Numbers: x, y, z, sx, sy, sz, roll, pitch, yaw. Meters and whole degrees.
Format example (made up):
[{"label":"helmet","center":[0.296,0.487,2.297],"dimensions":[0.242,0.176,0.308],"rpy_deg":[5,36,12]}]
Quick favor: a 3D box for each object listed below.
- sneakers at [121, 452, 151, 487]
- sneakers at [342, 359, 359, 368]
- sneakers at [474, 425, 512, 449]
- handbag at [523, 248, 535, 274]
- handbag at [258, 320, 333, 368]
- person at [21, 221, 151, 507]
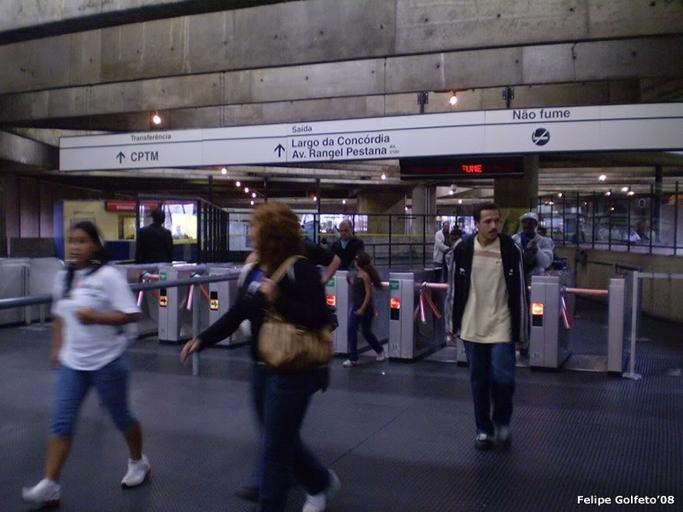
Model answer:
[{"label":"sneakers","center":[-1.555,1.617,4.069],"dimensions":[0.107,0.162,0.312],"rpy_deg":[-1,-13,0]},{"label":"sneakers","center":[0.133,1.559,7.901],"dimensions":[0.240,0.125,0.087],"rpy_deg":[17,-20,-42]},{"label":"sneakers","center":[1.348,1.596,4.846],"dimensions":[0.407,0.193,0.140],"rpy_deg":[7,-2,-30]},{"label":"handbag","center":[2.424,0.041,6.997],"dimensions":[0.090,0.329,0.217],"rpy_deg":[6,5,4]},{"label":"handbag","center":[-0.267,0.514,3.158],"dimensions":[0.326,0.375,0.255],"rpy_deg":[-1,3,-2]},{"label":"person","center":[-1.774,0.740,3.816],"dimensions":[0.760,1.967,0.420],"rpy_deg":[-1,3,-23]}]
